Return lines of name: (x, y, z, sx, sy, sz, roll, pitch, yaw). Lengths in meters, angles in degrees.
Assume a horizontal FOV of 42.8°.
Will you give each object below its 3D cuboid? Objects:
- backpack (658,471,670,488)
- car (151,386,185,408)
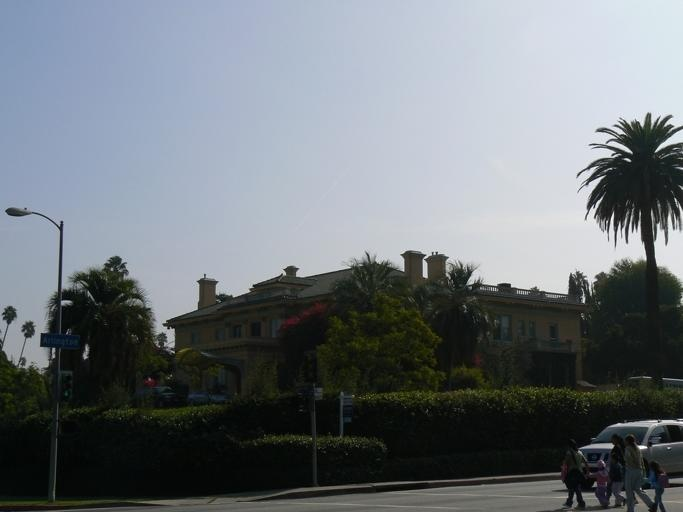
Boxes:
backpack: (10.284, 7.140, 27.930, 0.393, 0.651, 0.317, 8, -13, -43)
car: (-13.746, 11.092, 69.106, 2.420, 1.725, 9.465, 0, -10, -12)
